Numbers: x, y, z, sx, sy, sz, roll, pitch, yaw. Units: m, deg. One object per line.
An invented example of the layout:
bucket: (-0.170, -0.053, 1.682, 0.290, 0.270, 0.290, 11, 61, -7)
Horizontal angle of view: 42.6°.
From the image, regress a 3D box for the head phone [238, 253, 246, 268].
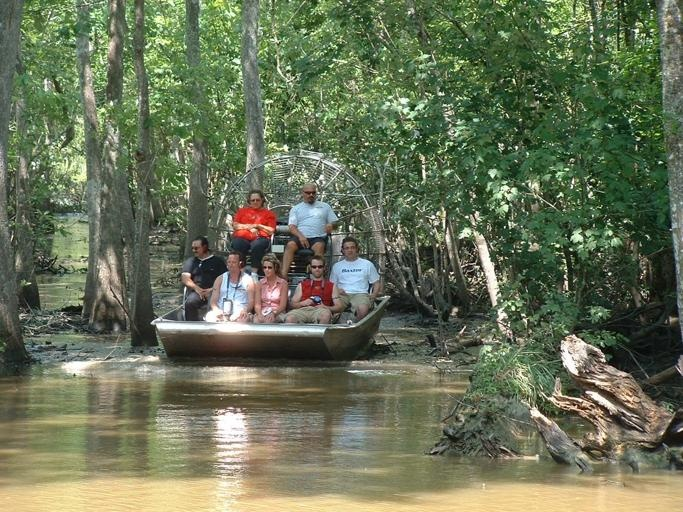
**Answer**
head phone: (-1.761, 0.089, 15.543, 0.187, 0.207, 0.224, -4, 13, 3)

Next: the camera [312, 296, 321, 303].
camera: (-0.424, 0.735, 14.635, 0.149, 0.084, 0.127, -4, -2, -5)

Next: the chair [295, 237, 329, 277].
chair: (-0.652, 0.001, 16.359, 0.774, 0.876, 0.706, -1, -19, 5)

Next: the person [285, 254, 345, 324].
person: (-0.501, 0.825, 14.482, 1.012, 1.479, 1.293, 2, 8, 8)

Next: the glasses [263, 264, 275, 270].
glasses: (-1.194, 0.182, 14.404, 0.105, 0.115, 0.043, -4, 7, 7)

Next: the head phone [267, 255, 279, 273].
head phone: (-1.150, 0.119, 14.484, 0.232, 0.248, 0.281, -4, -13, 5)

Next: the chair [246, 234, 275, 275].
chair: (-1.477, -0.021, 15.859, 0.623, 0.685, 0.623, -3, -24, 14)

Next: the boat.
boat: (-1.011, -0.062, 16.013, 3.745, 2.751, 4.885, 0, 3, 7)

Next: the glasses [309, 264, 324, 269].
glasses: (-0.413, 0.182, 14.558, 0.212, 0.070, 0.237, 0, -2, -3)

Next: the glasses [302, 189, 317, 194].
glasses: (-0.570, -1.196, 16.165, 0.313, 0.102, 0.192, 1, -2, -34)
